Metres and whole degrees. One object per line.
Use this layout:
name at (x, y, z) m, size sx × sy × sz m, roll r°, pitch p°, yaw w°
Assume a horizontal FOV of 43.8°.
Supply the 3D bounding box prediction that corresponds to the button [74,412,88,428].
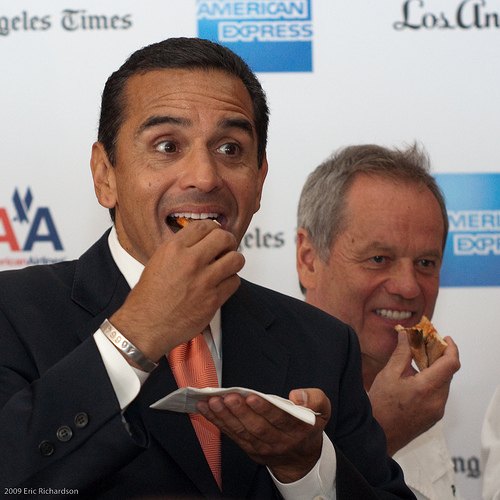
button at (-0.394, 0.388, 1.426) m, size 0.031 × 0.028 × 0.006 m, roll -6°, pitch -21°, yaw 11°

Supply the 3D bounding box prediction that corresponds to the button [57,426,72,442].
button at (-0.429, 0.417, 1.413) m, size 0.033 × 0.031 × 0.017 m, roll -6°, pitch 11°, yaw -16°

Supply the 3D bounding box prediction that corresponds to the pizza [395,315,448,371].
pizza at (0.781, 0.407, 2.790) m, size 0.248 × 0.091 × 0.259 m, roll -35°, pitch 17°, yaw 23°

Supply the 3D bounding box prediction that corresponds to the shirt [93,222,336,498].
shirt at (-0.125, 0.328, 1.855) m, size 0.649 × 0.738 × 0.712 m, roll -6°, pitch 11°, yaw -14°
